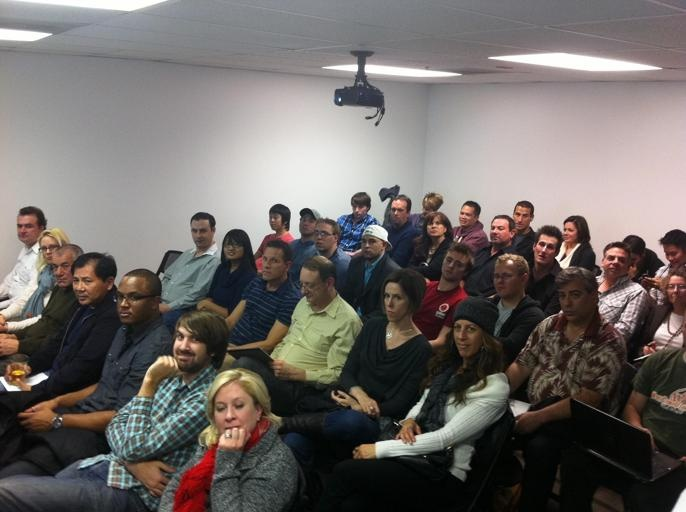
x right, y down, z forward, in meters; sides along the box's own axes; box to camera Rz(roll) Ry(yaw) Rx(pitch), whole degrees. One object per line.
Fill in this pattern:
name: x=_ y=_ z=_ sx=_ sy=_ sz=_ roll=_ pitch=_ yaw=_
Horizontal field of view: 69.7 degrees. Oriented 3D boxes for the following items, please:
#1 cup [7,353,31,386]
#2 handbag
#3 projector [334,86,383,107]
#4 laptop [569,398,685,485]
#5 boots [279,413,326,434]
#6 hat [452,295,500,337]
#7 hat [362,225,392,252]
cup: x=-2.160 y=0.759 z=3.287 sx=0.108 sy=0.112 sz=0.139 roll=10 pitch=26 yaw=2
handbag: x=0.374 y=0.995 z=2.601 sx=0.355 sy=0.120 sz=0.369 roll=8 pitch=8 yaw=-24
projector: x=0.140 y=-1.564 z=4.869 sx=0.290 sy=0.115 sz=0.293 roll=0 pitch=2 yaw=2
laptop: x=1.388 y=0.918 z=2.441 sx=0.504 sy=0.371 sz=0.322 roll=9 pitch=12 yaw=29
boots: x=-0.220 y=0.932 z=2.736 sx=0.211 sy=0.062 sz=0.052 roll=-8 pitch=20 yaw=20
hat: x=0.730 y=0.300 z=2.739 sx=0.232 sy=0.185 sz=0.192 roll=30 pitch=-11 yaw=-36
hat: x=0.336 y=-0.214 z=4.695 sx=0.280 sy=0.207 sz=0.199 roll=22 pitch=-16 yaw=-38
